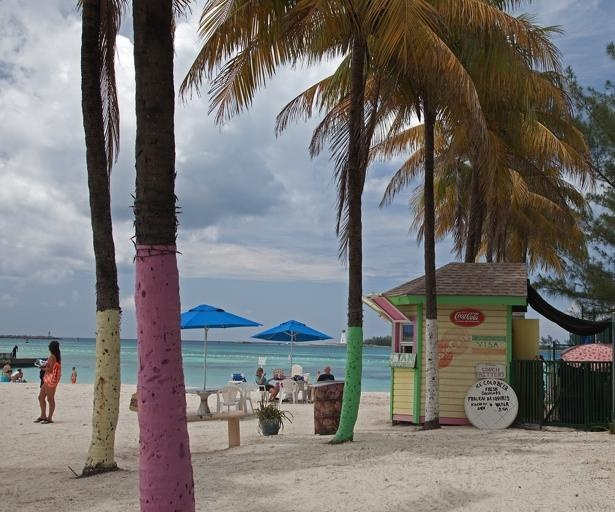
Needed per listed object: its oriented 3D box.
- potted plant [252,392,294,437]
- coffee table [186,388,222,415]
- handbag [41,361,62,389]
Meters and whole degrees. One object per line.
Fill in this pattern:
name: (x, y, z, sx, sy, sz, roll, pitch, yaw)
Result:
potted plant: (-0.646, 3.854, 17.762, 1.040, 1.375, 1.218, 4, -11, -12)
coffee table: (-2.793, 3.985, 20.656, 0.637, 0.713, 2.862, 0, -6, -7)
handbag: (-6.227, 2.938, 18.580, 0.418, 0.727, 0.626, 12, -11, -20)
